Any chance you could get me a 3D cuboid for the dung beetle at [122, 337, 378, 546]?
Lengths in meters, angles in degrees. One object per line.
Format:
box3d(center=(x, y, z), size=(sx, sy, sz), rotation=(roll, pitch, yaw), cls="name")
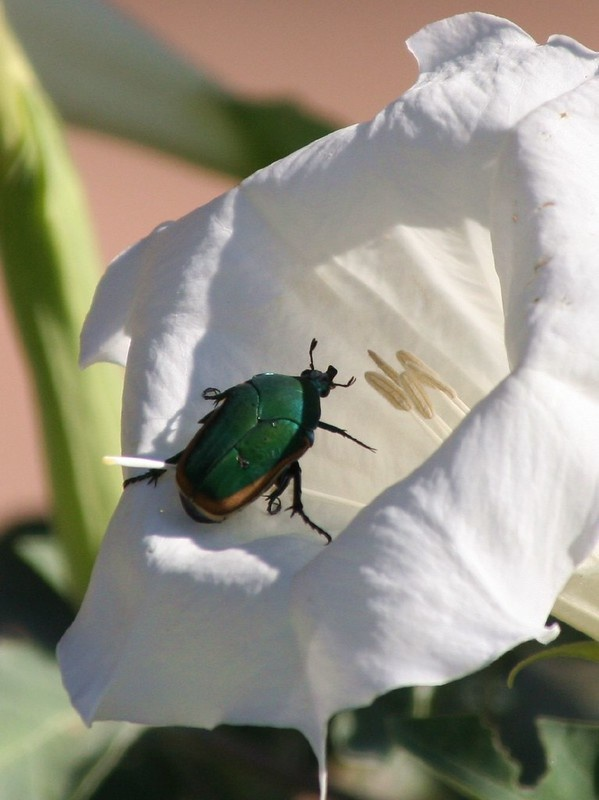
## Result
box3d(center=(-0.014, 0.015, 0.578), size=(0.090, 0.036, 0.112), rotation=(36, 55, 3), cls="dung beetle")
